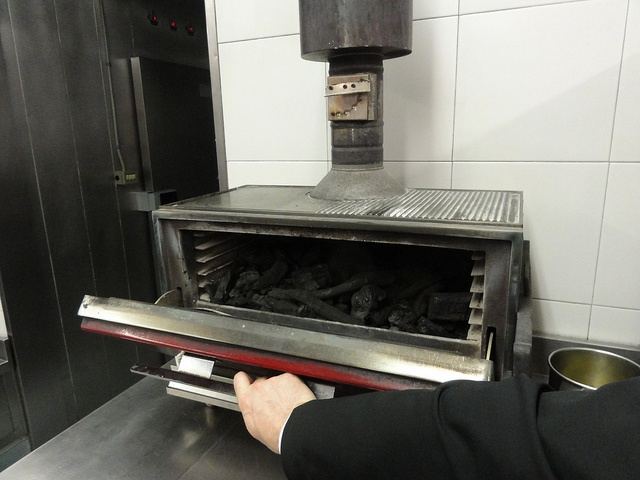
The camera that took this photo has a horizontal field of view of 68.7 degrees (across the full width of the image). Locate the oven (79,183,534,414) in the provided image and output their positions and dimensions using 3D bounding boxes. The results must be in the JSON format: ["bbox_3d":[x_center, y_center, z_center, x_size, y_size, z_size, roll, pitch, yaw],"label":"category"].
[{"bbox_3d":[0.070,0.185,1.577,1.183,0.613,0.978,7,18,26],"label":"oven"}]
